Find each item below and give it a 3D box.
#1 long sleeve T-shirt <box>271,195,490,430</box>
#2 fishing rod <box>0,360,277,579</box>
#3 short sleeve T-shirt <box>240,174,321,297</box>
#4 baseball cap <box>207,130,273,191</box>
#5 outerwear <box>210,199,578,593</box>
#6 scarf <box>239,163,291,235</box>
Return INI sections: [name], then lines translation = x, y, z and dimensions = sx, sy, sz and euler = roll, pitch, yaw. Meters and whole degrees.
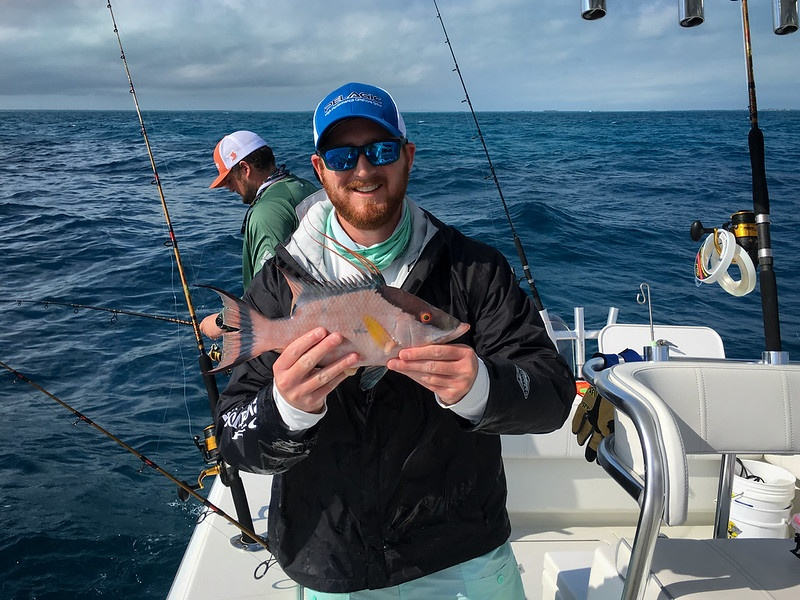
[long sleeve T-shirt]
translation = -0.199, -0.169, 3.550
dimensions = 0.777, 1.518, 0.711
euler = 10, 8, -7
[fishing rod]
translation = -2.494, 1.616, 6.023
dimensions = 0.151, 3.737, 0.416
euler = -47, 16, 51
[short sleeve T-shirt]
translation = -0.825, -0.450, 4.477
dimensions = 0.388, 0.742, 0.964
euler = 3, 16, 10
[baseball cap]
translation = -1.513, -1.278, 5.876
dimensions = 0.571, 0.308, 0.376
euler = -34, 11, 18
[outerwear]
translation = -0.003, 0.428, 4.244
dimensions = 2.557, 2.391, 1.773
euler = -4, -16, 4
[scarf]
translation = -1.270, -0.926, 5.749
dimensions = 0.153, 0.567, 0.603
euler = 39, 30, 14
